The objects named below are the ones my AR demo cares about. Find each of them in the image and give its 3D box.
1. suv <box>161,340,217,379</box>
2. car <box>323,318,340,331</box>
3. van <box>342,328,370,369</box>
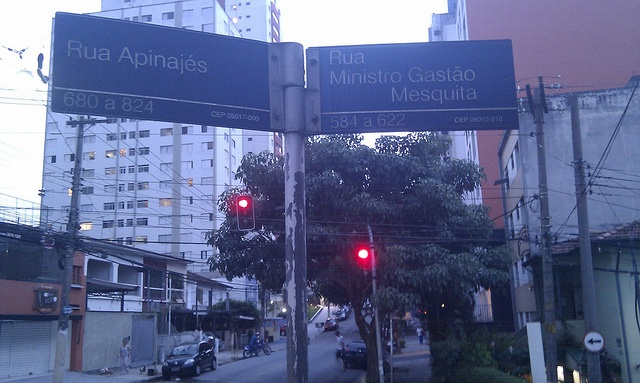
[{"bbox_3d":[-9.967,12.557,48.071,2.186,2.606,4.615,-11,-15,26],"label":"suv"},{"bbox_3d":[1.528,17.330,83.953,1.952,1.472,4.381,-2,-10,3],"label":"car"},{"bbox_3d":[3.059,13.018,52.636,2.105,1.674,4.929,0,-4,7],"label":"van"}]
